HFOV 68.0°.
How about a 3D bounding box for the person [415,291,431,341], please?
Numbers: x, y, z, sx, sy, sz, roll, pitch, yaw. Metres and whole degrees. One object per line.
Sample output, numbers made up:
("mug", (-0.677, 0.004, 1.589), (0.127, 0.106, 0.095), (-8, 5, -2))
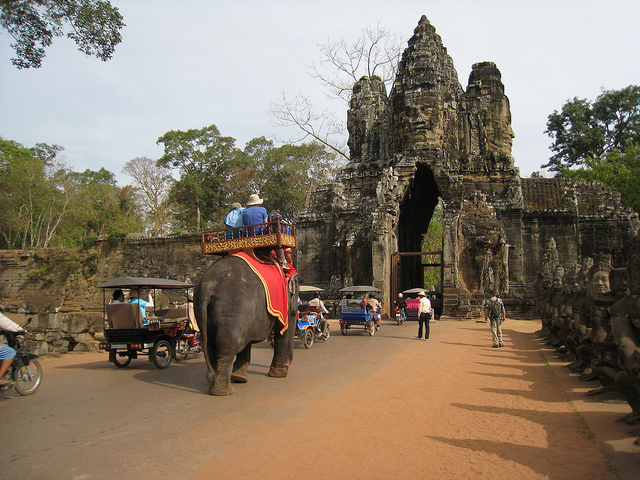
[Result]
("person", (3.509, 2.563, 16.350), (0.462, 1.503, 2.072), (-1, -3, 12))

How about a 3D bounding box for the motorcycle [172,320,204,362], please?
("motorcycle", (-3.454, 2.551, 12.261), (0.911, 0.990, 1.529), (-7, -12, 4))

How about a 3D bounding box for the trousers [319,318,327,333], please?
("trousers", (0.092, 2.784, 15.492), (0.221, 0.424, 0.264), (-2, -8, -3))

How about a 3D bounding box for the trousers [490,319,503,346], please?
("trousers", (5.269, 2.737, 14.200), (0.272, 0.789, 0.438), (-1, -2, 16))

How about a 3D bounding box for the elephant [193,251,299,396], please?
("elephant", (-1.290, 1.534, 9.795), (1.364, 2.728, 3.804), (-1, -8, 21))

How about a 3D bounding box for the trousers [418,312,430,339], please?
("trousers", (3.448, 2.813, 15.821), (0.351, 0.860, 0.891), (0, -3, 1))

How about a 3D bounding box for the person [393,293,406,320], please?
("person", (3.701, 2.939, 21.776), (0.712, 0.840, 1.283), (-4, -20, 11))

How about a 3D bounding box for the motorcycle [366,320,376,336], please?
("motorcycle", (1.861, 3.142, 17.230), (0.204, 0.539, 0.791), (-1, -3, 24))

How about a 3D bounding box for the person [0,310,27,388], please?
("person", (-5.571, 2.042, 8.594), (0.361, 1.413, 0.905), (1, -3, -32))

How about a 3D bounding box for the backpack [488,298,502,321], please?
("backpack", (5.205, 2.074, 14.155), (0.315, 0.617, 0.288), (-1, -2, 21))
